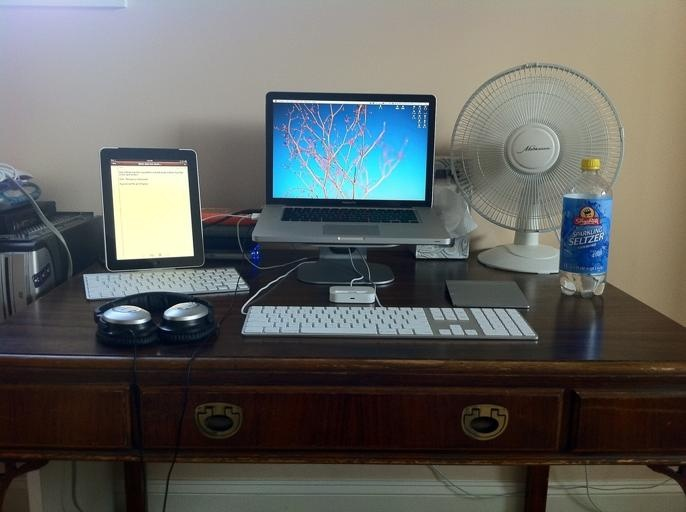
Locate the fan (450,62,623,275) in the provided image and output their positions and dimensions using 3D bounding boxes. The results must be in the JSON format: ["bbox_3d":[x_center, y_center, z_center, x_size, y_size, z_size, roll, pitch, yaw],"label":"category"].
[{"bbox_3d":[0.520,-0.247,1.659,0.442,0.511,0.278,5,9,13],"label":"fan"}]

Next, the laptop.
[{"bbox_3d":[0.017,-0.279,1.710,0.580,0.400,0.495,0,17,0],"label":"laptop"}]

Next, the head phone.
[{"bbox_3d":[-0.347,0.084,1.233,0.246,0.094,0.273,-5,12,-14],"label":"head phone"}]

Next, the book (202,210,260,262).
[{"bbox_3d":[-0.290,-0.054,1.644,0.162,0.120,0.163,-2,17,-6],"label":"book"}]

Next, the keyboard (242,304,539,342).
[{"bbox_3d":[0.089,0.140,1.226,0.579,0.032,0.168,1,15,-2],"label":"keyboard"}]

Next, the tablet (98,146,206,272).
[{"bbox_3d":[-0.483,-0.113,1.493,0.310,0.381,0.028,-2,1,-18],"label":"tablet"}]

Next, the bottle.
[{"bbox_3d":[0.560,-0.064,1.381,0.111,0.324,0.140,3,17,1],"label":"bottle"}]
